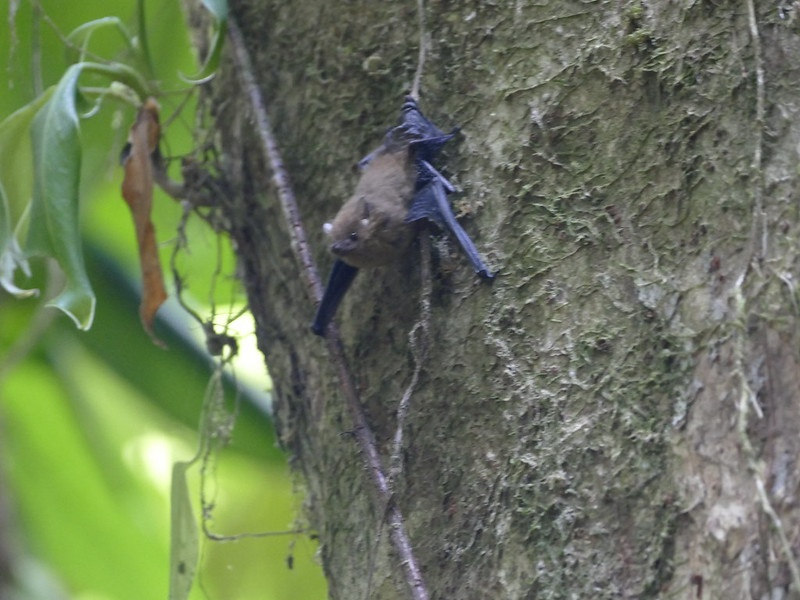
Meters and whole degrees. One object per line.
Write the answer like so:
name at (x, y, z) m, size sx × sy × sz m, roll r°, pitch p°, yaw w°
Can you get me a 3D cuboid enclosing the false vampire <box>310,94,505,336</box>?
false vampire at (-0.017, -0.323, 5.924) m, size 0.581 × 0.812 × 0.316 m, roll -1°, pitch -6°, yaw 41°
